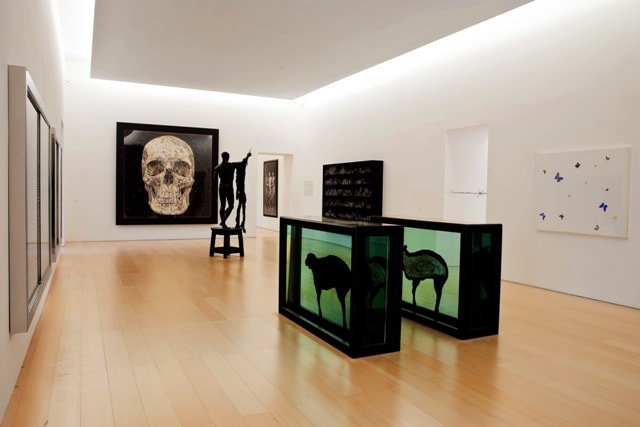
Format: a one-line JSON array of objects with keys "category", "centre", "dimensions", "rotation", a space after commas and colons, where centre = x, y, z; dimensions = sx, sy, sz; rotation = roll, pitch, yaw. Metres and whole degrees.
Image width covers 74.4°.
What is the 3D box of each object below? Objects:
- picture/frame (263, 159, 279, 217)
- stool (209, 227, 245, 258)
[{"category": "picture/frame", "centre": [-2.390, -1.214, 20.473], "dimensions": [0.082, 2.750, 1.415], "rotation": [2, 5, 23]}, {"category": "stool", "centre": [-2.671, 0.833, 12.303], "dimensions": [0.970, 0.996, 0.962], "rotation": [3, -1, -44]}]
